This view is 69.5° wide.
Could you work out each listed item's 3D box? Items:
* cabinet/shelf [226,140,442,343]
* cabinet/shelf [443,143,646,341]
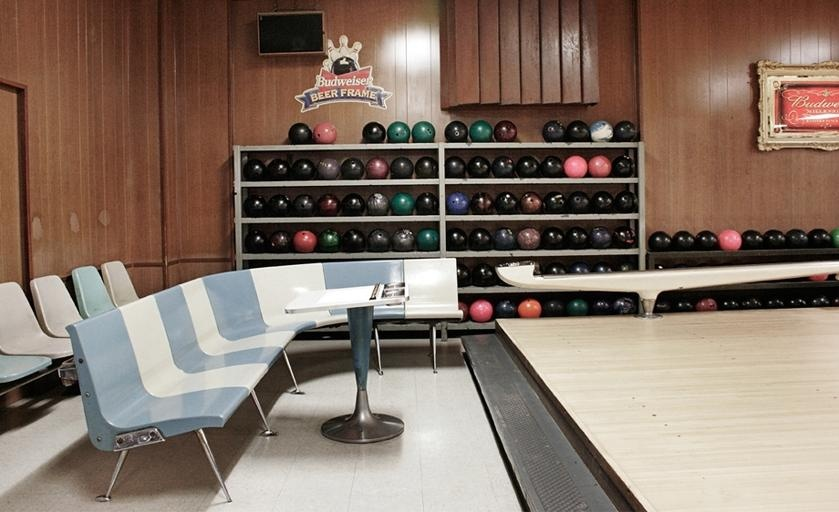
[{"bbox_3d":[-1.023,-0.170,7.349,2.569,2.445,0.717,0,15,-1],"label":"cabinet/shelf"},{"bbox_3d":[1.557,-0.183,7.699,2.510,2.140,0.818,0,11,-1],"label":"cabinet/shelf"}]
